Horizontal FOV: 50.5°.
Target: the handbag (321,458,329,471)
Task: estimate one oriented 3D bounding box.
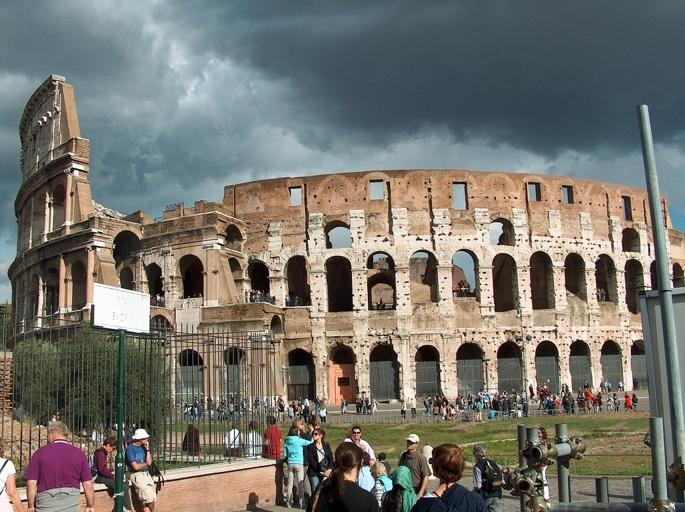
[{"bbox_3d":[-0.312,3.714,12.933,0.198,0.287,0.153,-3,-9,11],"label":"handbag"}]

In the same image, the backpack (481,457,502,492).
[{"bbox_3d":[2.341,3.371,11.167,0.309,0.501,0.483,3,-15,-29],"label":"backpack"}]

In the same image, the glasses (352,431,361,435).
[{"bbox_3d":[0.250,3.100,12.771,0.136,0.063,0.068,4,-15,-33],"label":"glasses"}]
